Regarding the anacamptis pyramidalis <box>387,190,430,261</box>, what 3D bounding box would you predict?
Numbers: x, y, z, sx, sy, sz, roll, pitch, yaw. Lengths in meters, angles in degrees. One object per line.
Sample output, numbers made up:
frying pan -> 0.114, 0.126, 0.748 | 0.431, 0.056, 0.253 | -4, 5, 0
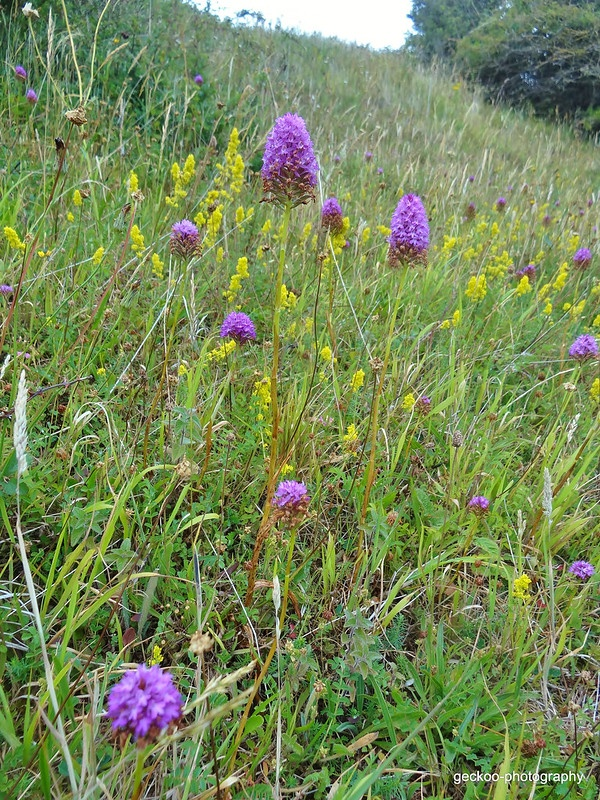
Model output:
anacamptis pyramidalis -> 0.364, -0.551, 2.026 | 0.141, 0.236, 0.235 | 17, 24, 6

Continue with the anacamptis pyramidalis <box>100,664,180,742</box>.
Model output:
anacamptis pyramidalis -> -0.209, 0.418, 0.821 | 0.097, 0.114, 0.082 | 9, 23, -14

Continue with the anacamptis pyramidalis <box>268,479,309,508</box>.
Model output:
anacamptis pyramidalis -> -0.031, 0.221, 1.514 | 0.060, 0.080, 0.061 | -3, 0, -31

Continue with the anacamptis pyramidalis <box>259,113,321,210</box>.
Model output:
anacamptis pyramidalis -> -0.023, -0.644, 1.670 | 0.162, 0.248, 0.188 | 12, 23, -6

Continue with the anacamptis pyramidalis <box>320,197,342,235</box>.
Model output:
anacamptis pyramidalis -> 0.132, -0.772, 2.541 | 0.083, 0.180, 0.082 | 2, -14, -2

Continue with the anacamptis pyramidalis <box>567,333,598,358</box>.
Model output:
anacamptis pyramidalis -> 1.303, -0.221, 2.798 | 0.093, 0.132, 0.112 | -2, 25, -2
